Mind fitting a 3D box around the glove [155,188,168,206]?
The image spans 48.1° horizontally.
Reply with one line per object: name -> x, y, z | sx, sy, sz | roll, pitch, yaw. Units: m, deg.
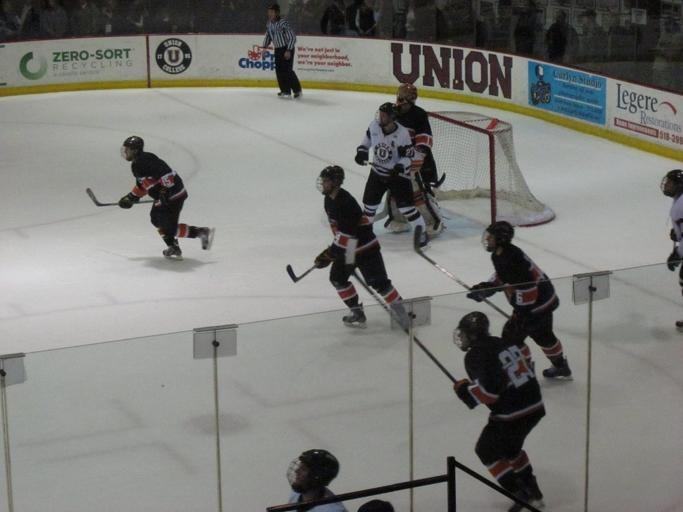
glove -> -1.901, -0.624, 8.101 | 0.151, 0.186, 0.103 | -6, 34, -31

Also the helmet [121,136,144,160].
helmet -> -2.216, -1.129, 8.096 | 0.211, 0.257, 0.285 | -13, 17, -17

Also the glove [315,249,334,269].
glove -> -0.161, 0.024, 6.533 | 0.187, 0.112, 0.077 | -37, 5, 1

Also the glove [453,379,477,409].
glove -> 0.693, 0.783, 4.348 | 0.059, 0.157, 0.116 | -49, -6, 26

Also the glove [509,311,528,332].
glove -> 1.003, 0.376, 4.369 | 0.108, 0.105, 0.076 | 4, 6, 23

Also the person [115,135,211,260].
person -> -1.928, -0.645, 8.214 | 0.896, 1.316, 0.474 | 0, 18, 23

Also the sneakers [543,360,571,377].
sneakers -> 1.233, 0.644, 4.418 | 0.180, 0.110, 0.083 | 1, 8, -2

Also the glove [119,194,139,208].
glove -> -2.339, -0.594, 8.372 | 0.195, 0.157, 0.087 | -31, 2, -4

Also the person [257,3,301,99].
person -> -1.165, -3.968, 14.890 | 0.512, 1.772, 0.801 | -12, 17, -14

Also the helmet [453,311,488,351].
helmet -> 0.719, 0.409, 4.327 | 0.235, 0.236, 0.184 | -2, 13, 1

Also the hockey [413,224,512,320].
hockey -> 0.961, 0.130, 6.224 | 1.053, 0.060, 0.179 | 38, 35, 25

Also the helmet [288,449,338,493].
helmet -> -0.148, 1.178, 4.219 | 0.299, 0.226, 0.219 | 2, -13, -9

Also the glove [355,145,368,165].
glove -> 0.222, -1.100, 8.376 | 0.164, 0.229, 0.098 | 0, 6, 9

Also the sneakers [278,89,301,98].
sneakers -> -1.044, -3.206, 15.169 | 0.502, 0.211, 0.167 | -3, 10, 12

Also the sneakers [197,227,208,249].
sneakers -> -1.497, -0.178, 8.286 | 0.164, 0.240, 0.081 | 1, 19, 2

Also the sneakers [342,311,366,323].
sneakers -> 0.069, 0.317, 4.085 | 0.126, 0.085, 0.055 | 7, 4, 1

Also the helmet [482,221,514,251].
helmet -> 1.122, -0.157, 5.510 | 0.256, 0.253, 0.225 | 8, 10, 10

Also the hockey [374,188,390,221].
hockey -> 0.500, -0.612, 9.137 | 0.300, 0.330, 0.251 | -3, 13, 14

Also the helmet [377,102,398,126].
helmet -> 0.469, -1.477, 7.948 | 0.194, 0.221, 0.226 | -8, 16, 0

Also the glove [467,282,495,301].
glove -> 0.858, 0.218, 4.710 | 0.147, 0.062, 0.086 | -17, 27, 0
